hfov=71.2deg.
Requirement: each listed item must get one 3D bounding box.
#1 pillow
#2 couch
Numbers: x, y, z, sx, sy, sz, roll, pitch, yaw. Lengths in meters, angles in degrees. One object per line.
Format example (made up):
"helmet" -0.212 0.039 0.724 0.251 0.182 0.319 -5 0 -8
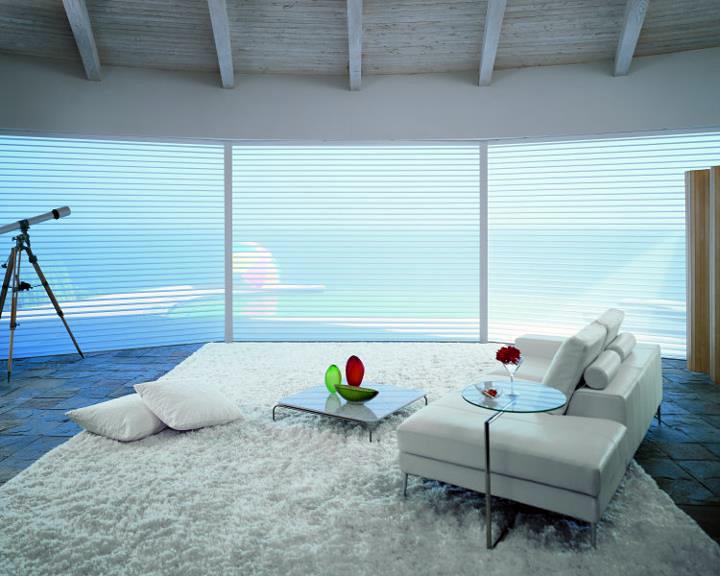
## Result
"pillow" -1.477 0.926 3.833 0.815 0.191 0.640 -3 9 -35
"couch" 1.347 0.680 3.524 1.308 0.718 2.144 1 11 33
